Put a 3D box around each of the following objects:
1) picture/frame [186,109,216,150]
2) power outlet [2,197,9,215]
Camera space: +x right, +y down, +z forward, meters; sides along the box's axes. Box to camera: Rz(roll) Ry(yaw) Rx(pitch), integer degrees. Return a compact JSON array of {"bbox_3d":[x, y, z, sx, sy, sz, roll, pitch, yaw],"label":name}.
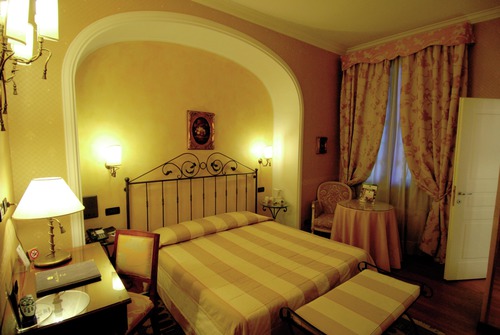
[{"bbox_3d":[-0.744,-0.565,5.302,0.583,0.684,0.065,-4,6,-40],"label":"picture/frame"},{"bbox_3d":[-2.352,0.357,3.503,0.057,0.127,0.175,-4,-1,-29],"label":"power outlet"}]
